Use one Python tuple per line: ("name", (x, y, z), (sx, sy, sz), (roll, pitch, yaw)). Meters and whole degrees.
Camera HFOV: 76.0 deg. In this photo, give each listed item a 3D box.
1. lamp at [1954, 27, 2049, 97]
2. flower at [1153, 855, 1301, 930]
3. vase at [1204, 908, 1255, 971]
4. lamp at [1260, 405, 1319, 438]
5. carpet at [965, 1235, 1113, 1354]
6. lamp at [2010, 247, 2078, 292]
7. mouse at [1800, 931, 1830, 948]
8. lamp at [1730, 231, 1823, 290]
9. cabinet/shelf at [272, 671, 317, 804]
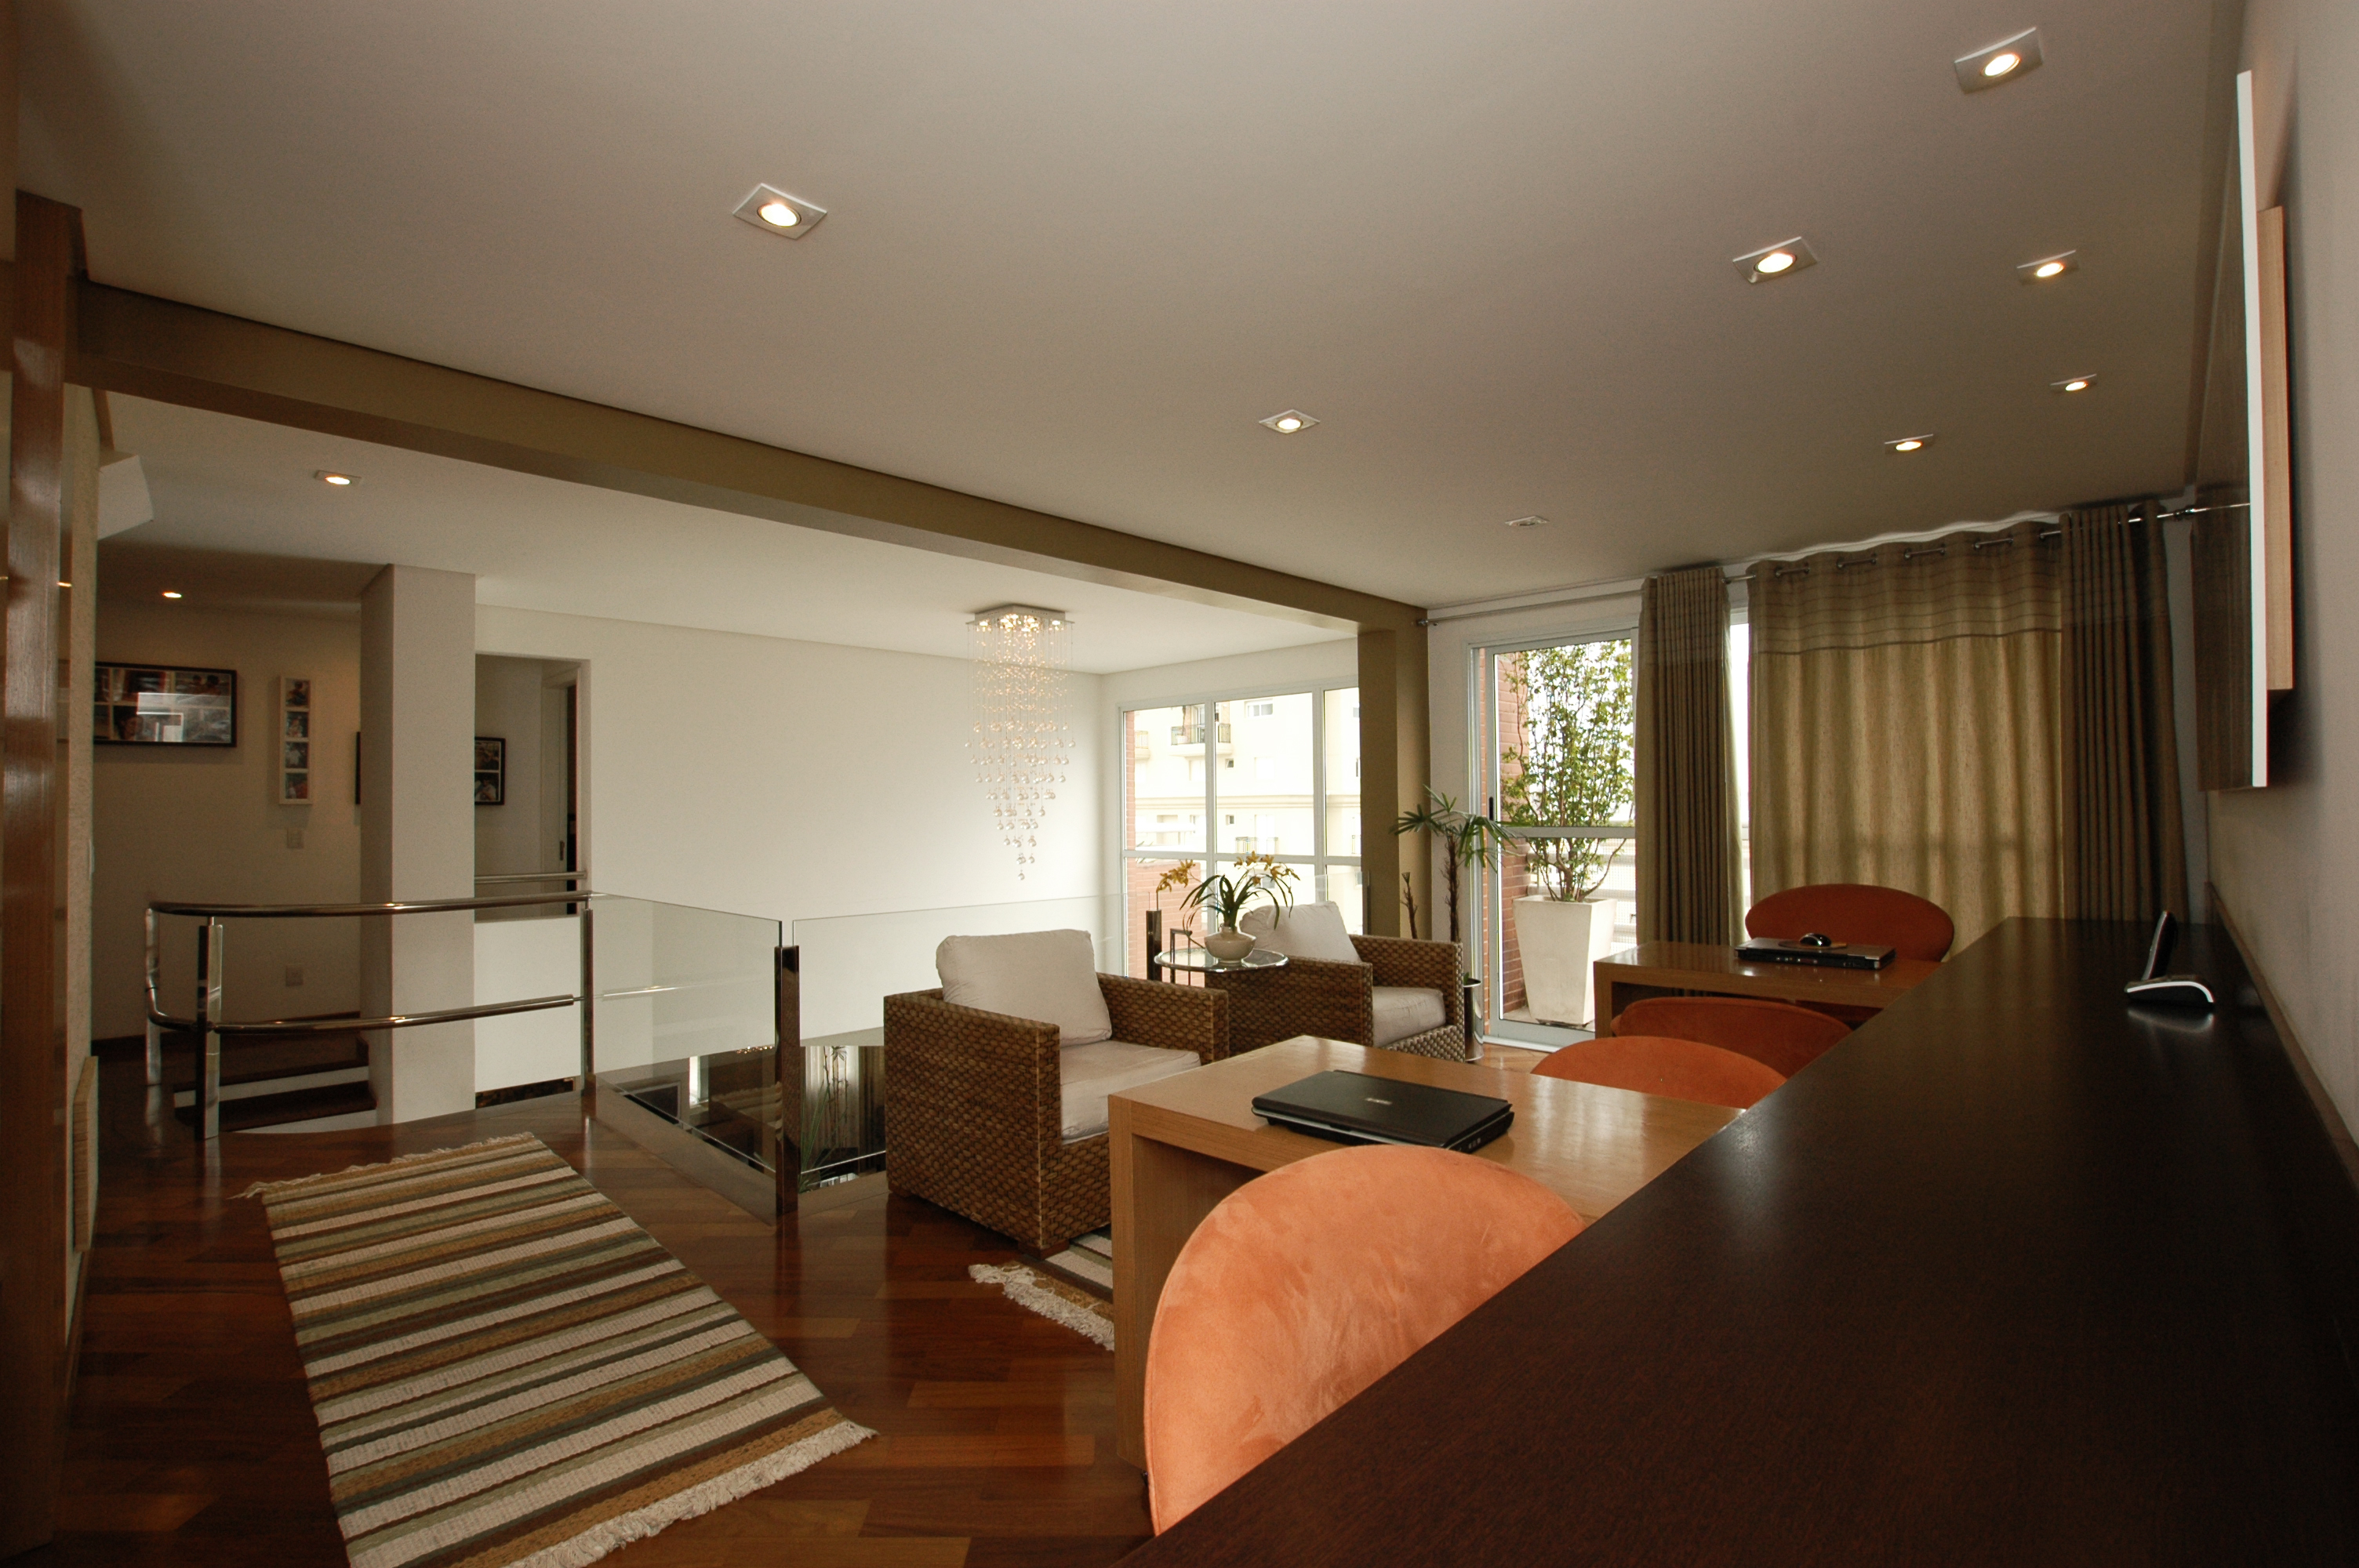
("lamp", (1.939, -1.709, 3.572), (0.128, 0.030, 0.095), (-12, -24, 40))
("flower", (0.282, 0.552, 7.654), (0.657, 0.268, 0.671), (-1, -3, 25))
("vase", (0.224, 0.687, 6.524), (0.221, 0.211, 0.226), (-3, -3, 13))
("lamp", (0.368, -1.235, 5.142), (0.187, 0.087, 0.243), (0, 12, 3))
("carpet", (-0.432, 1.555, 4.687), (0.442, 0.083, 0.714), (-2, 12, -7))
("lamp", (2.428, -1.440, 4.209), (0.136, 0.081, 0.190), (10, 16, 40))
("mouse", (1.944, 0.475, 4.613), (0.059, 0.026, 0.087), (1, 5, 24))
("lamp", (1.649, -1.447, 4.172), (0.190, 0.100, 0.196), (9, 16, 39))
("cabinet/shelf", (-4.869, -0.238, 8.304), (0.250, 0.692, 0.119), (-10, 15, -38))
